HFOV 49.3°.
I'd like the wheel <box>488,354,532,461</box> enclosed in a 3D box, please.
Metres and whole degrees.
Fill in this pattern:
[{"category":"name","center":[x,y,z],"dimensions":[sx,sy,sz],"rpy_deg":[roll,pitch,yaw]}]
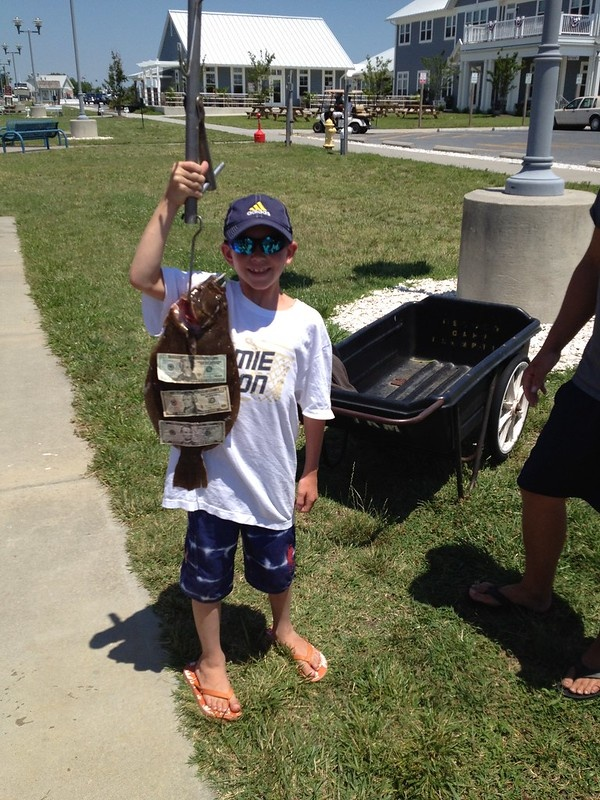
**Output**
[{"category":"wheel","center":[1.101,0.031,3.460],"dimensions":[0.128,0.478,0.445],"rpy_deg":[13,41,34]}]

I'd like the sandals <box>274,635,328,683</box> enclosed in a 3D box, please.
[{"category":"sandals","center":[0.004,0.884,2.231],"dimensions":[0.083,0.066,0.170],"rpy_deg":[-30,50,-35]}]

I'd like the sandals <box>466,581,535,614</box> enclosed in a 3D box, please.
[{"category":"sandals","center":[0.768,0.756,2.535],"dimensions":[0.208,0.051,0.092],"rpy_deg":[10,41,31]}]

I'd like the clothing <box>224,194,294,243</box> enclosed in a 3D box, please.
[{"category":"clothing","center":[-0.109,-0.469,1.665],"dimensions":[0.126,0.082,0.162],"rpy_deg":[-1,18,-4]}]
